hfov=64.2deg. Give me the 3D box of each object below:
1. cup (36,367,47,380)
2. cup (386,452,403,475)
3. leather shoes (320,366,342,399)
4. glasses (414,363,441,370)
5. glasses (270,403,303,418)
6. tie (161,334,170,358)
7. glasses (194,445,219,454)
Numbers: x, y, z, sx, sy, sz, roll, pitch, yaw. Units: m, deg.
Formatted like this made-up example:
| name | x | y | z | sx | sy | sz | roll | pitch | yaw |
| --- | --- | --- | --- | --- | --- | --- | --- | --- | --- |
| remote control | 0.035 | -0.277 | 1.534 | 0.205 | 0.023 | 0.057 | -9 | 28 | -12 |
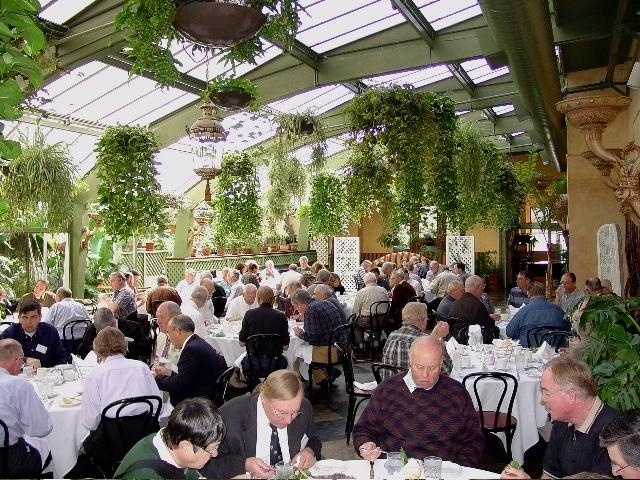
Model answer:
| name | x | y | z | sx | sy | sz | roll | pitch | yaw |
| --- | --- | --- | --- | --- | --- | --- | --- | --- | --- |
| cup | -2.556 | 1.240 | 4.705 | 0.085 | 0.098 | 0.116 | -3 | -13 | 10 |
| cup | 0.393 | 1.175 | 2.665 | 0.087 | 0.104 | 0.093 | 0 | -17 | 0 |
| leather shoes | 0.117 | 1.947 | 6.825 | 0.281 | 0.440 | 0.172 | -19 | -21 | 18 |
| glasses | 0.674 | 0.795 | 3.157 | 0.147 | 0.038 | 0.046 | 0 | -5 | 0 |
| glasses | -0.187 | 0.964 | 2.824 | 0.138 | 0.084 | 0.093 | 2 | -5 | -21 |
| tie | -1.628 | 1.133 | 5.437 | 0.057 | 0.218 | 0.162 | 16 | -29 | -16 |
| glasses | -0.514 | 0.961 | 2.317 | 0.071 | 0.024 | 0.072 | 2 | -5 | 6 |
